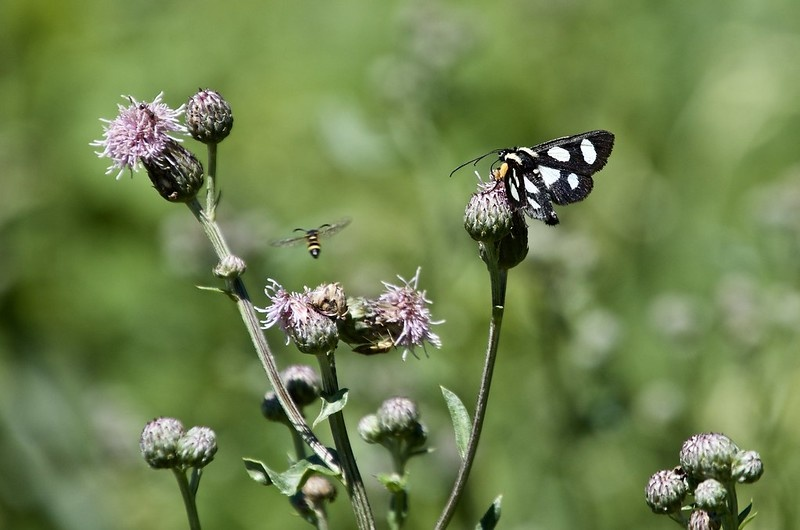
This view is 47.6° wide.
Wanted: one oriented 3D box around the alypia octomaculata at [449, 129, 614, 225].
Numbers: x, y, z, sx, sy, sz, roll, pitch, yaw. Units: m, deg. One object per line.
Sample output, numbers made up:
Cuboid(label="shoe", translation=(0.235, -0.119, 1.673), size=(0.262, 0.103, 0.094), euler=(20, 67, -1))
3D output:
Cuboid(label="alypia octomaculata", translation=(0.821, -0.545, 5.038), size=(0.665, 0.505, 0.243), euler=(-31, -29, -43))

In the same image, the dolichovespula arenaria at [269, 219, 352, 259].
Cuboid(label="dolichovespula arenaria", translation=(-0.572, -0.164, 5.889), size=(0.476, 0.154, 0.392), euler=(-14, -17, -6))
